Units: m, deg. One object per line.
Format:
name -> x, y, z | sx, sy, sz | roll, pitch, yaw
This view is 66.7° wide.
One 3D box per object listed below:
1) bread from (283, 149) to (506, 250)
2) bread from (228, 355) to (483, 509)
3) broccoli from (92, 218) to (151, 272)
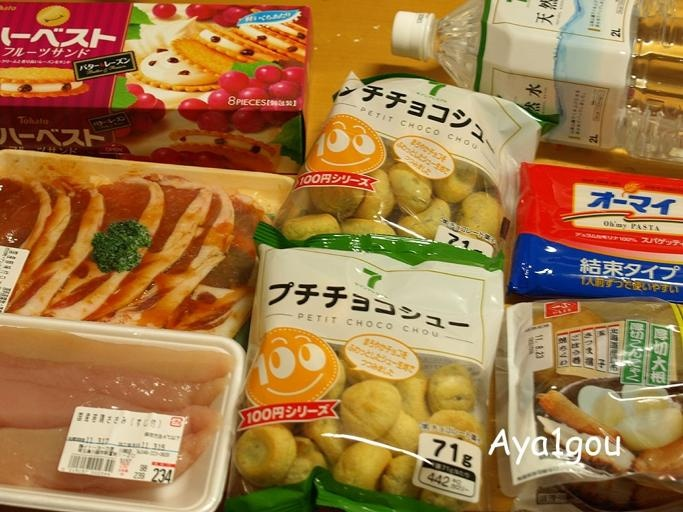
bread -> 0.126, -0.124, 1.226 | 0.423, 0.105, 0.220 | 6, 74, -2
bread -> 0.036, 0.343, 1.011 | 0.422, 0.102, 0.272 | 5, 74, 3
broccoli -> -0.575, -0.030, 1.359 | 0.143, 0.100, 0.136 | 5, 30, 2
